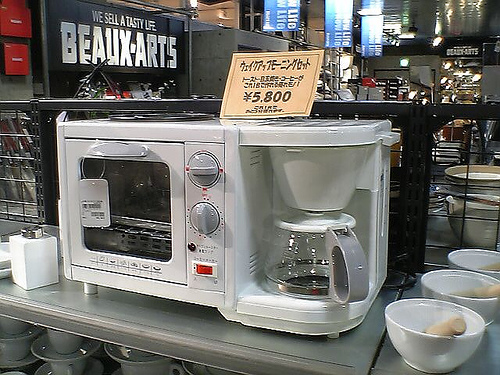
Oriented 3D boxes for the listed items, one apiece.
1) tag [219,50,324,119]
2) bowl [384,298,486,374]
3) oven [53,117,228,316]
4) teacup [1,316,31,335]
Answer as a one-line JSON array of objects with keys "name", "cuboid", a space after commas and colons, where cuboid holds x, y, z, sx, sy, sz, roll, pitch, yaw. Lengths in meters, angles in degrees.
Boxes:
[{"name": "tag", "cuboid": [0.059, -0.263, 1.058, 0.276, 0.185, 0.161, 3, 15, 20]}, {"name": "bowl", "cuboid": [0.402, 0.304, 0.903, 0.190, 0.135, 0.208, 0, 14, 0]}, {"name": "oven", "cuboid": [-0.258, 0.061, 1.178, 0.465, 0.434, 0.332, 3, 4, 31]}, {"name": "teacup", "cuboid": [-0.931, 0.538, 1.609, 0.121, 0.085, 0.050, 1, 15, 3]}]
